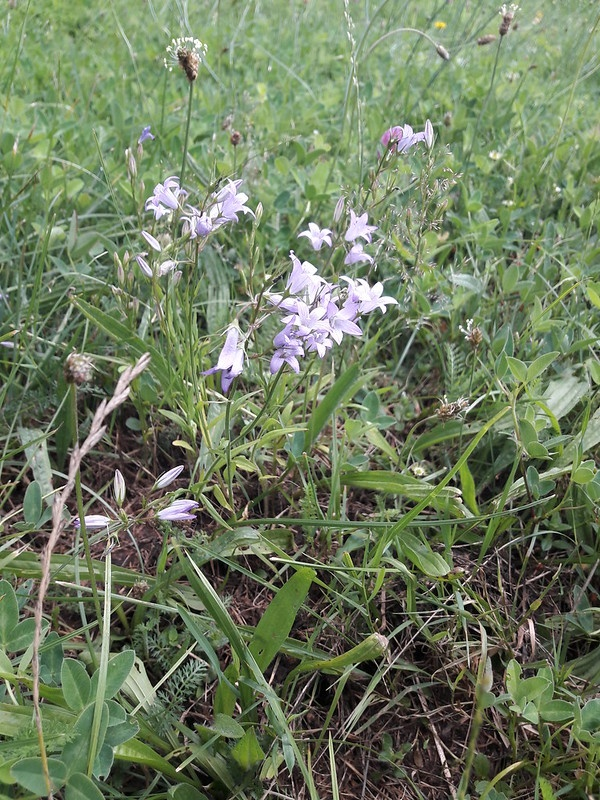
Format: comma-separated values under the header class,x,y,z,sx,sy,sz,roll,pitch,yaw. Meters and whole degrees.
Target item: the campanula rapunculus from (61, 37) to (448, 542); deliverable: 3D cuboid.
class,x,y,z,sx,sy,sz,roll,pitch,yaw
campanula rapunculus,-0.062,-0.302,1.816,0.755,0.834,0.777,13,43,-8
